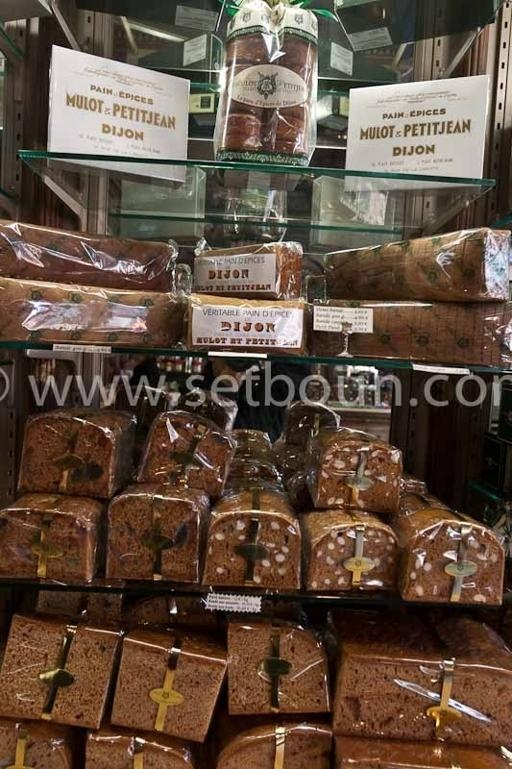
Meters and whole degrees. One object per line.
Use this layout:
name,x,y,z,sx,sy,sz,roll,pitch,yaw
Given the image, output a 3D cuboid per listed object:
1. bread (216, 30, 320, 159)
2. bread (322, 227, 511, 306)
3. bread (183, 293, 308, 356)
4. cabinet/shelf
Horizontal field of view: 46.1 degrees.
bread,0.023,-0.575,1.212,0.187,0.251,0.080,0,15,-4
bread,0.309,-0.256,1.310,0.170,0.180,0.471,-9,19,-35
bread,-0.013,-0.124,1.216,0.248,0.110,0.092,0,15,-6
cabinet/shelf,-0.013,-0.024,1.303,1.038,0.774,0.554,1,9,5
